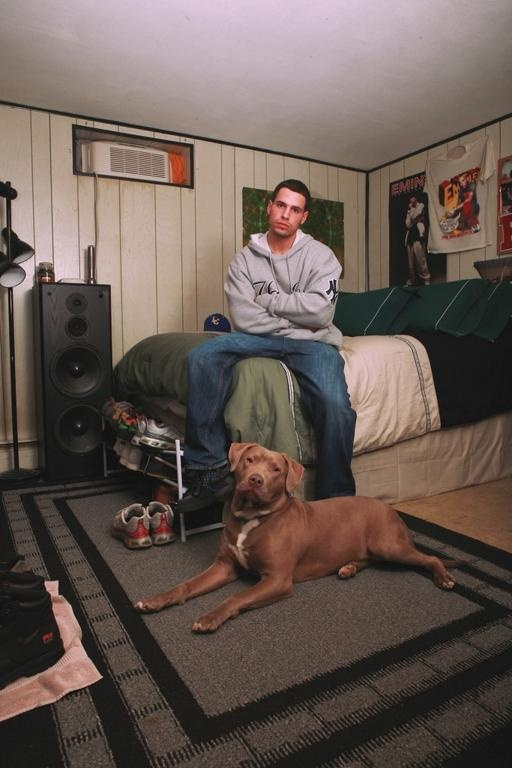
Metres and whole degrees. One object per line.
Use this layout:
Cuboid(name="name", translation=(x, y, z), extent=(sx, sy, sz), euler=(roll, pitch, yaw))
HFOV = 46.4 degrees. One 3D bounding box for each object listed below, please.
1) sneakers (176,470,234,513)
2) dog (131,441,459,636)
Cuboid(name="sneakers", translation=(-0.159, 0.348, 1.890), extent=(0.170, 0.070, 0.128), euler=(-13, 6, -16))
Cuboid(name="dog", translation=(0.128, 0.367, 1.556), extent=(0.786, 0.409, 0.296), euler=(-1, -1, -26))
